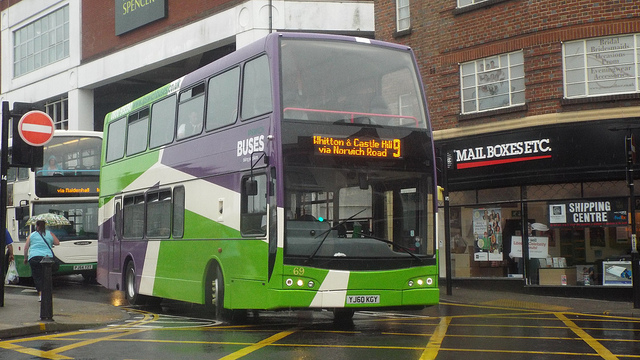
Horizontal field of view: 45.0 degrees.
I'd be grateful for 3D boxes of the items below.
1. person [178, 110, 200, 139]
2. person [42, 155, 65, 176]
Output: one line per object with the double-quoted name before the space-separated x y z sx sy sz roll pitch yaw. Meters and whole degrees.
"person" -4.050 -1.740 24.700 0.830 0.793 0.207 -1 -16 45
"person" -11.090 -0.553 32.146 0.858 0.752 0.351 0 -10 -10
